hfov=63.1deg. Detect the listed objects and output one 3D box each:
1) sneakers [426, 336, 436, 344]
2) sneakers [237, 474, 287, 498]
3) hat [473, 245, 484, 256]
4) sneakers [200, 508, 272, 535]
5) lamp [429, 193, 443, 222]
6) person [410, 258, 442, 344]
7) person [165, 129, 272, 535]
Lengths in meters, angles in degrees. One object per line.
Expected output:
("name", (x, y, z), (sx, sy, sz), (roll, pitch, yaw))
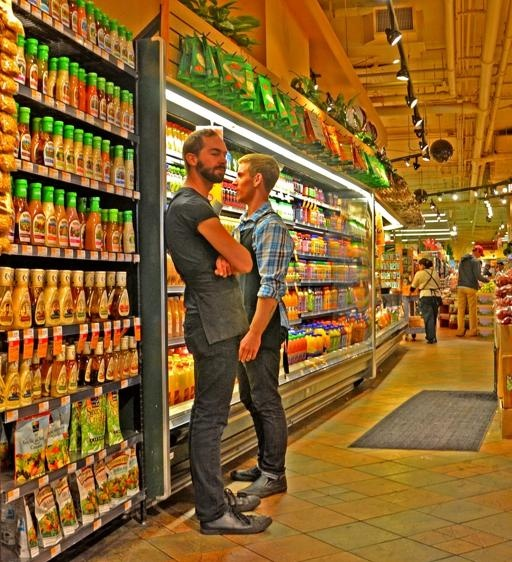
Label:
("sneakers", (4.241, 1.432, 10.139), (0.225, 0.220, 0.136), (-4, -5, 37))
("sneakers", (0.028, 1.137, 2.357), (0.286, 0.118, 0.103), (6, -9, -34))
("hat", (6.268, -0.856, 11.746), (0.288, 0.257, 0.445), (11, 18, 26))
("sneakers", (-0.086, 1.063, 1.894), (0.333, 0.131, 0.117), (0, -5, -10))
("lamp", (10.443, -4.342, 24.192), (0.382, 1.629, 0.480), (-5, -7, 13))
("person", (4.332, 0.483, 10.589), (0.680, 2.130, 1.210), (-2, -7, 20))
("person", (-0.156, 0.337, 1.834), (0.455, 1.551, 0.292), (4, -8, -30))
